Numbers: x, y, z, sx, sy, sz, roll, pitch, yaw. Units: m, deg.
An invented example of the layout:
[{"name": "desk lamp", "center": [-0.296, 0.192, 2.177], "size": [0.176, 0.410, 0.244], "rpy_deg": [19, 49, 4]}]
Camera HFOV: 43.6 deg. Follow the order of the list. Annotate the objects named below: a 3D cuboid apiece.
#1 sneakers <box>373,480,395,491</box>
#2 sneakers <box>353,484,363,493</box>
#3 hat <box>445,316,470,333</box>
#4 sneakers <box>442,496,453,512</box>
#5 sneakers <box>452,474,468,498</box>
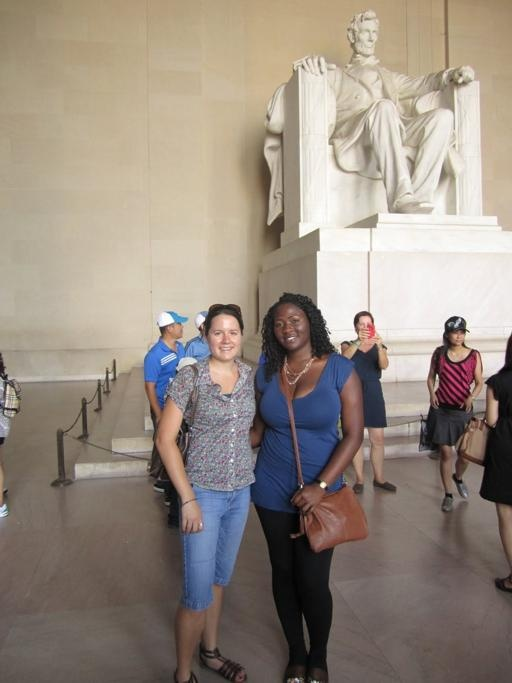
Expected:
[{"name": "sneakers", "center": [1.022, 1.147, 5.117], "size": [0.061, 0.059, 0.164], "rpy_deg": [-1, 0, -44]}, {"name": "sneakers", "center": [0.796, 1.153, 5.006], "size": [0.075, 0.079, 0.218], "rpy_deg": [-2, -10, 5]}, {"name": "hat", "center": [1.518, -0.136, 4.906], "size": [0.119, 0.098, 0.170], "rpy_deg": [2, -10, 7]}, {"name": "sneakers", "center": [1.383, 1.161, 4.660], "size": [0.081, 0.098, 0.191], "rpy_deg": [0, 5, 16]}, {"name": "sneakers", "center": [1.559, 1.111, 4.924], "size": [0.075, 0.200, 0.080], "rpy_deg": [-9, -21, -6]}]
